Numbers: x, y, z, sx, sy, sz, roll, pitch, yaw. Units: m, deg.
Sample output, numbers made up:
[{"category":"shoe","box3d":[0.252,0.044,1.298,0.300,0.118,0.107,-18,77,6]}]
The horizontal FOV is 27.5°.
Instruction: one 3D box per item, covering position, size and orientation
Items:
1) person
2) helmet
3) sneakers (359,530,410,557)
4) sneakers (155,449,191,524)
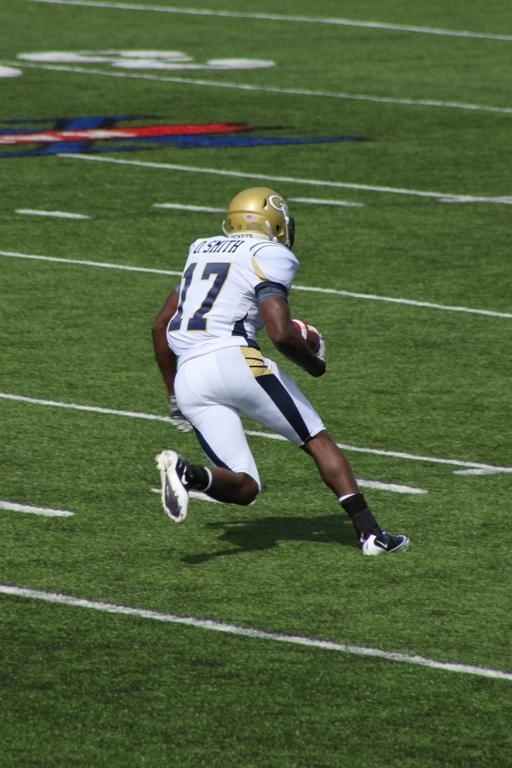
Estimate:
[{"category":"person","box3d":[0.053,-0.057,3.904,0.929,1.327,0.889,-1,14,-11]},{"category":"helmet","box3d":[0.017,-0.671,4.206,0.307,0.242,0.238,-3,8,-41]},{"category":"sneakers","box3d":[0.476,0.576,3.874,0.229,0.079,0.075,-9,23,-25]},{"category":"sneakers","box3d":[-0.275,0.338,3.578,0.151,0.249,0.097,-6,13,7]}]
